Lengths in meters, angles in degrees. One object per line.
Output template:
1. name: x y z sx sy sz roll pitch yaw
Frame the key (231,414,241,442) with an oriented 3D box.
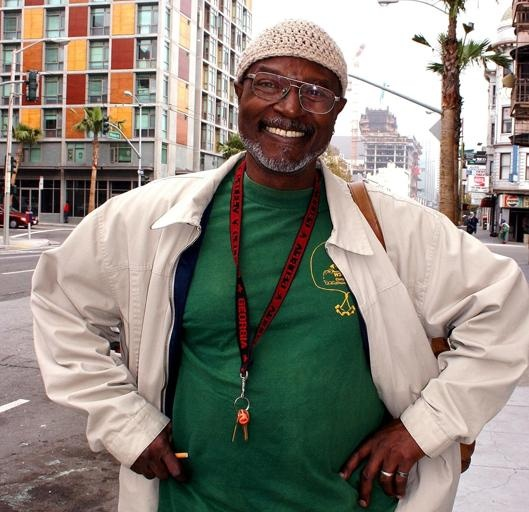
1. key: -0.089 0.538 1.655 0.015 0.102 0.010 5 -10 0

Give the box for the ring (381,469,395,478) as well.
1. ring: 0.378 0.662 1.629 0.036 0.022 0.016 1 2 20

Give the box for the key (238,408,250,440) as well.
1. key: -0.066 0.515 1.630 0.038 0.094 0.020 0 10 10
